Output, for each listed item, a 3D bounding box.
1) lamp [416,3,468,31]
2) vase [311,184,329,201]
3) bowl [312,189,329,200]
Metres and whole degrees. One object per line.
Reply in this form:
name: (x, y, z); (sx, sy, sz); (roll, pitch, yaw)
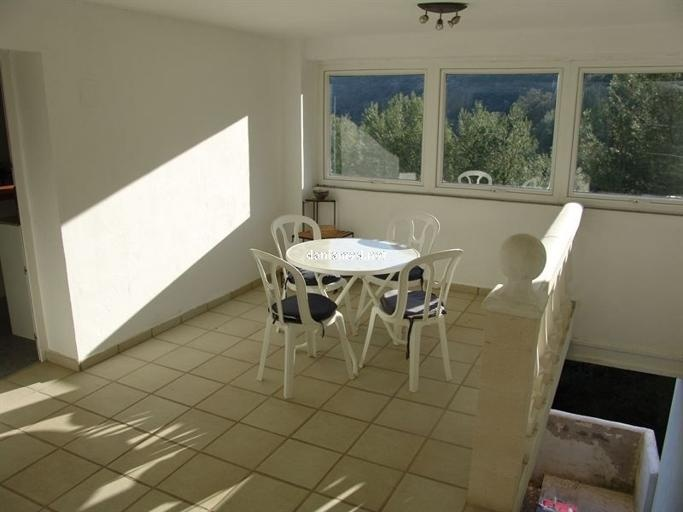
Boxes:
lamp: (0.906, -2.134, 4.546); (0.414, 0.177, 0.871); (5, 16, 12)
vase: (-0.281, -0.837, 6.592); (0.185, 0.137, 0.199); (4, 23, 16)
bowl: (-0.283, -0.817, 6.555); (0.168, 0.112, 0.167); (0, 22, 0)
